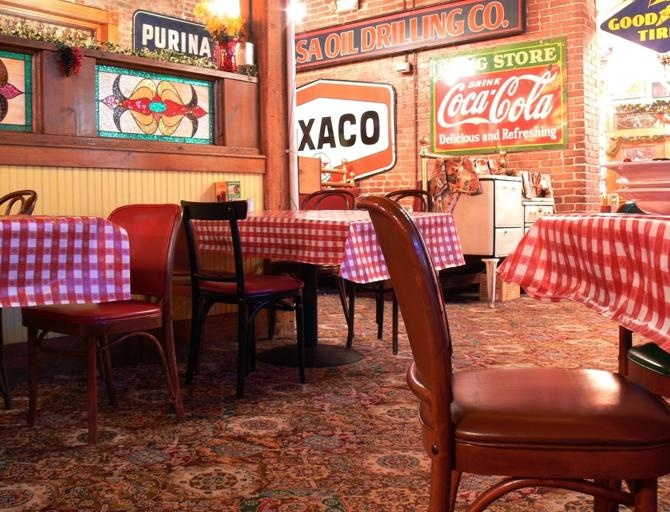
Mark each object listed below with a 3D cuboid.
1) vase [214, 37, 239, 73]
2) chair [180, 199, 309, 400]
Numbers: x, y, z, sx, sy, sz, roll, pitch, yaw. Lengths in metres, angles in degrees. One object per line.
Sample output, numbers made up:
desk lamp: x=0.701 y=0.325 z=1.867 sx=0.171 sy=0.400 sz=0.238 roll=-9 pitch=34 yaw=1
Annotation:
vase: x=-0.750 y=-1.494 z=4.175 sx=0.232 sy=0.229 sz=0.224 roll=-10 pitch=23 yaw=-27
chair: x=-0.497 y=0.194 z=2.989 sx=0.668 sy=0.973 sz=0.711 roll=-1 pitch=7 yaw=-4
